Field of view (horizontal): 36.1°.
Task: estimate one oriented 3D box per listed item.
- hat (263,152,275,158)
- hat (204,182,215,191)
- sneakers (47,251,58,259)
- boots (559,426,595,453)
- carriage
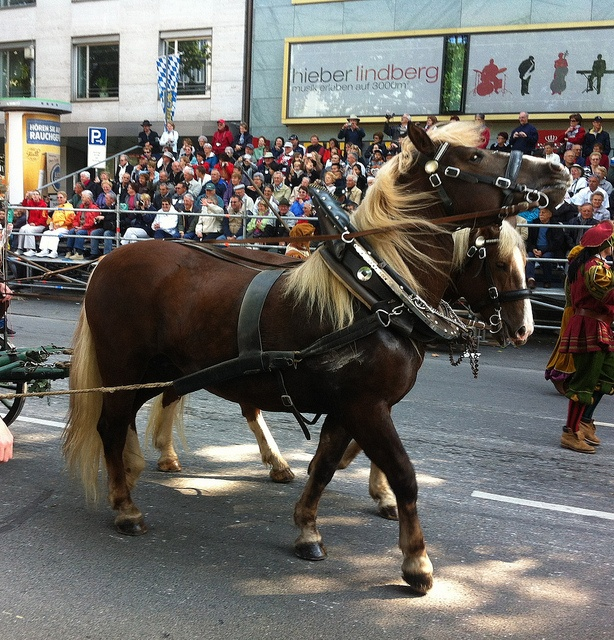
[{"bbox_3d":[-0.662,-2.968,17.000,0.198,0.042,0.173,0,0,17],"label":"hat"},{"bbox_3d":[-1.601,-2.248,15.804,0.172,0.167,0.075,9,45,17],"label":"hat"},{"bbox_3d":[-4.687,-1.201,17.409,0.161,0.123,0.359,2,5,-12],"label":"sneakers"},{"bbox_3d":[2.397,1.049,8.130,0.395,0.148,0.145,2,1,35],"label":"boots"},{"bbox_3d":[0.079,0.191,6.080,4.174,2.683,1.330,3,-4,41],"label":"carriage"}]
